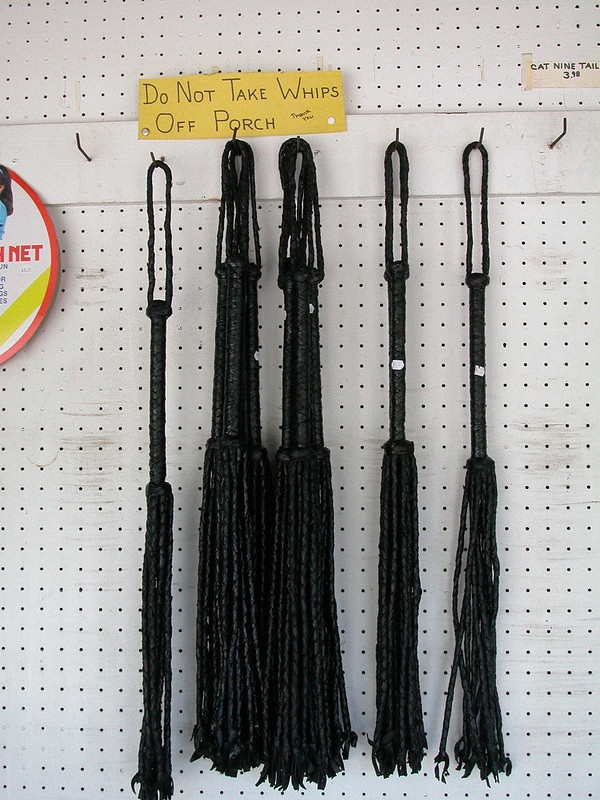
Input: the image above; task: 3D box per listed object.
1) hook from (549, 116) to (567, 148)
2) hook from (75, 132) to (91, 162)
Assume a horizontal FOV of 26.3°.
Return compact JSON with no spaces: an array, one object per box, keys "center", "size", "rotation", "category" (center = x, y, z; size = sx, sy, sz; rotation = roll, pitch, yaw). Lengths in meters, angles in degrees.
[{"center":[0.406,-0.420,2.018],"size":[0.026,0.047,0.028],"rotation":[1,5,14],"category":"hook"},{"center":[-0.347,-0.402,2.034],"size":[0.031,0.048,0.026],"rotation":[-5,7,-43],"category":"hook"}]
